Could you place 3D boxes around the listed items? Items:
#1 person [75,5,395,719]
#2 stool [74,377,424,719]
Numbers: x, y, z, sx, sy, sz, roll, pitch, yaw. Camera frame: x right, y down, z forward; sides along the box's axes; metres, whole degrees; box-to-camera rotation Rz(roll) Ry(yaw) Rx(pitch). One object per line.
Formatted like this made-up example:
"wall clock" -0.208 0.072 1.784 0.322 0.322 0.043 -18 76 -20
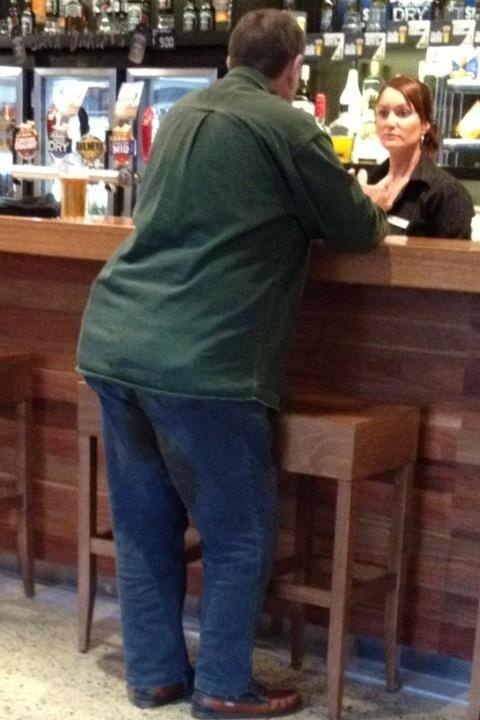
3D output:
"person" -0.040 0.056 1.310 0.551 1.227 0.402 1 -1 41
"stool" 0.046 0.417 1.454 0.613 0.616 0.247 9 13 36
